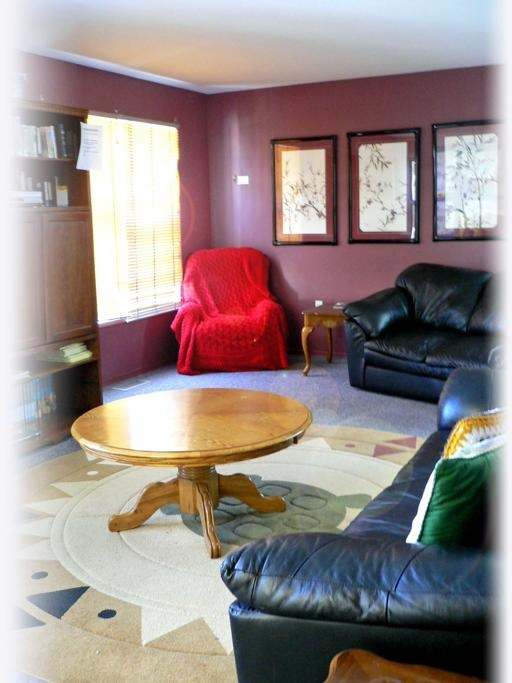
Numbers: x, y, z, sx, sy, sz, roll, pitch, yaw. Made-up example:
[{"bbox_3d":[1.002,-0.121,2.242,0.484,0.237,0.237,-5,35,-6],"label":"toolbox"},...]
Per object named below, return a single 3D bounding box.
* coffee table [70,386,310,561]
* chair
[{"bbox_3d":[-0.256,0.570,2.450,1.052,0.486,1.064,-2,6,-8],"label":"coffee table"},{"bbox_3d":[-0.269,-0.401,5.631,1.288,1.195,1.241,-1,11,-1],"label":"chair"}]
